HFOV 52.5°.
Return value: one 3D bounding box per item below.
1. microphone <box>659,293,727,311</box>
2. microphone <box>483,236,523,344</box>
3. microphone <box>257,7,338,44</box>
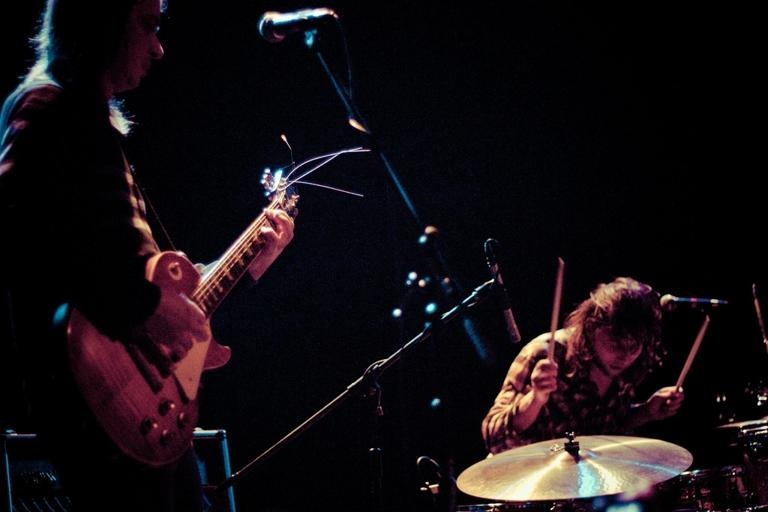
[{"bbox_3d":[2.068,0.307,5.247,0.435,0.114,0.120,-3,-4,-2],"label":"microphone"},{"bbox_3d":[0.848,0.268,5.530,0.159,0.804,0.114,-21,-13,39],"label":"microphone"},{"bbox_3d":[-0.509,-1.416,4.632,0.475,0.216,0.199,-9,-8,10],"label":"microphone"}]
